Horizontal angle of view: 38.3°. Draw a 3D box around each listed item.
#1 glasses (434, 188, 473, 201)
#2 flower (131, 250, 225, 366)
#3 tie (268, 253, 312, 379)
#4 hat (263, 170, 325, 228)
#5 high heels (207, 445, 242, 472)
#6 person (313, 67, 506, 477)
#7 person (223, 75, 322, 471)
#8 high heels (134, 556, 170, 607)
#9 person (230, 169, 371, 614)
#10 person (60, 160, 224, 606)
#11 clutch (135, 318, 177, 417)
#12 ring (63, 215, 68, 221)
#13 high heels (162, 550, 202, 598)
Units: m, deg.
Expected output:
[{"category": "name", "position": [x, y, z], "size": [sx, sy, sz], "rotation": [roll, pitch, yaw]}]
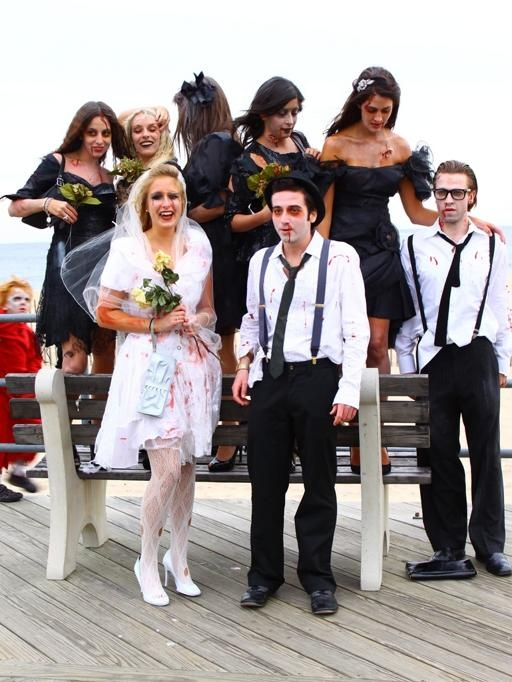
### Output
[{"category": "glasses", "position": [0.837, -0.632, 3.159], "size": [0.142, 0.053, 0.061], "rotation": [0, 3, 16]}, {"category": "flower", "position": [-0.351, -0.146, 2.896], "size": [0.314, 0.385, 0.181], "rotation": [16, 22, 34]}, {"category": "tie", "position": [0.123, -0.097, 2.797], "size": [0.123, 0.473, 0.145], "rotation": [0, 3, 21]}, {"category": "hat", "position": [0.172, -0.588, 2.865], "size": [0.222, 0.085, 0.230], "rotation": [10, -32, 10]}, {"category": "high heels", "position": [-0.161, 0.530, 3.313], "size": [0.077, 0.114, 0.183], "rotation": [-20, -22, 27]}, {"category": "person", "position": [0.623, -0.340, 3.719], "size": [0.885, 1.890, 0.731], "rotation": [-2, 19, -3]}, {"category": "person", "position": [-0.039, -0.444, 3.596], "size": [0.393, 1.557, 0.694], "rotation": [6, 16, -2]}, {"category": "high heels", "position": [-0.424, 0.934, 2.968], "size": [0.124, 0.123, 0.312], "rotation": [-10, 28, -15]}, {"category": "person", "position": [0.165, 0.190, 2.858], "size": [0.533, 1.661, 0.368], "rotation": [-1, 3, 8]}, {"category": "person", "position": [-0.581, 0.163, 3.071], "size": [0.773, 1.582, 0.656], "rotation": [0, 1, -17]}, {"category": "clutch", "position": [-0.390, 0.127, 2.867], "size": [0.145, 0.326, 0.162], "rotation": [-1, 3, -4]}, {"category": "ring", "position": [-0.904, -0.587, 3.492], "size": [0.027, 0.030, 0.012], "rotation": [3, 21, 31]}, {"category": "high heels", "position": [-0.305, 0.951, 3.024], "size": [0.224, 0.130, 0.081], "rotation": [17, 7, 36]}]
